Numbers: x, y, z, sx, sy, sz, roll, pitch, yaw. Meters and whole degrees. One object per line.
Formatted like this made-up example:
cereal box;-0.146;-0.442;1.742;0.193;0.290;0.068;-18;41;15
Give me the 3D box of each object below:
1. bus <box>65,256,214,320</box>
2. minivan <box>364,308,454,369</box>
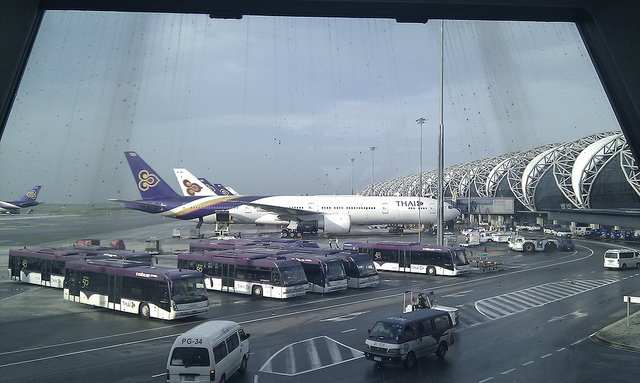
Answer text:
bus;-10.744;5.609;31.028;9.703;2.680;3.173;2;3;26
minivan;4.319;6.601;24.293;1.927;1.632;4.001;-10;-11;42
